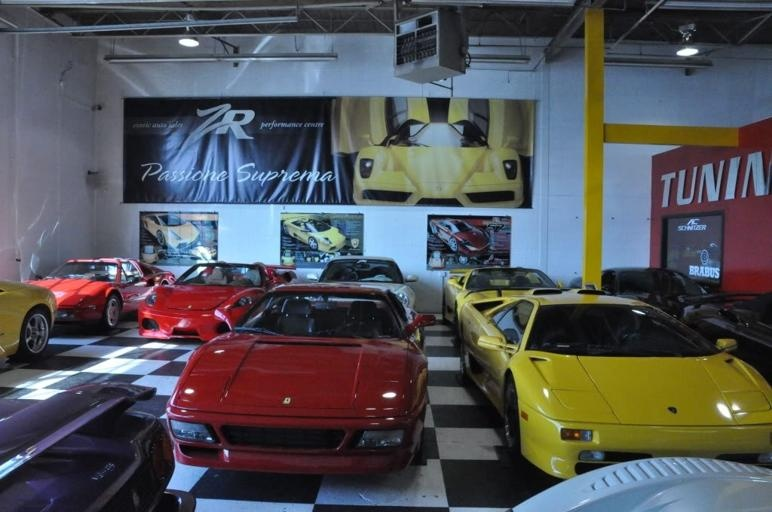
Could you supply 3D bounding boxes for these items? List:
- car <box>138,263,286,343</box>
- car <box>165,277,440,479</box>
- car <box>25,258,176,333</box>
[{"bbox_3d":[-2.641,0.605,8.076,1.268,0.574,2.011,0,-1,8],"label":"car"},{"bbox_3d":[-0.725,1.042,7.024,2.516,1.372,4.488,2,7,3],"label":"car"},{"bbox_3d":[-4.559,0.597,9.130,1.257,0.579,1.867,0,-2,8],"label":"car"}]
